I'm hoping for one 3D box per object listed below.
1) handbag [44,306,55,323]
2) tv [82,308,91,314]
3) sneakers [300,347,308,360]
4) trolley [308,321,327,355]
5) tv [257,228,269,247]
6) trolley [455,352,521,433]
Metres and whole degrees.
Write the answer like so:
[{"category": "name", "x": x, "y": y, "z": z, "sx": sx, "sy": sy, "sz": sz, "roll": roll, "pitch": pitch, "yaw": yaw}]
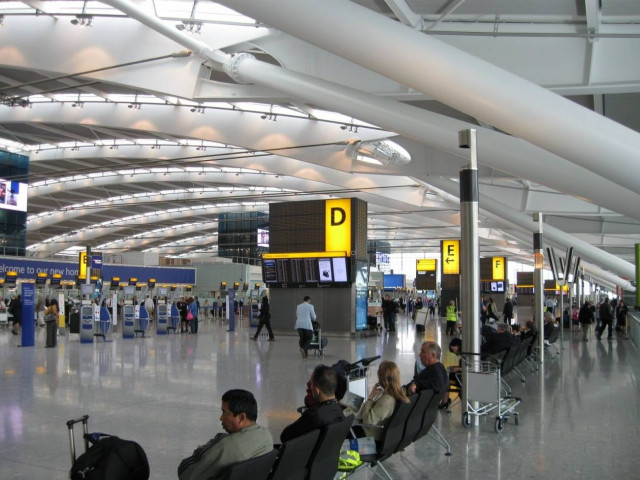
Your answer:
[{"category": "handbag", "x": -9.912, "y": 2.716, "z": 19.559, "sx": 0.358, "sy": 0.558, "sz": 0.479, "roll": 3, "pitch": -7, "yaw": -26}, {"category": "tv", "x": -9.274, "y": 2.795, "z": 21.160, "sx": 0.374, "sy": 0.319, "sz": 0.153, "roll": 3, "pitch": -7, "yaw": -22}, {"category": "sneakers", "x": -0.515, "y": 3.605, "z": 16.960, "sx": 0.146, "sy": 0.389, "sz": 0.178, "roll": -9, "pitch": -14, "yaw": 17}, {"category": "trolley", "x": -0.175, "y": 3.264, "z": 17.510, "sx": 0.529, "sy": 0.611, "sz": 0.673, "roll": 3, "pitch": 12, "yaw": 13}, {"category": "tv", "x": -6.921, "y": -0.456, "z": 63.321, "sx": 0.862, "sy": 1.815, "sz": 2.205, "roll": -2, "pitch": -7, "yaw": 20}, {"category": "trolley", "x": 3.095, "y": 2.582, "z": 9.451, "sx": 0.816, "sy": 1.268, "sz": 1.986, "roll": -6, "pitch": -6, "yaw": 33}]
